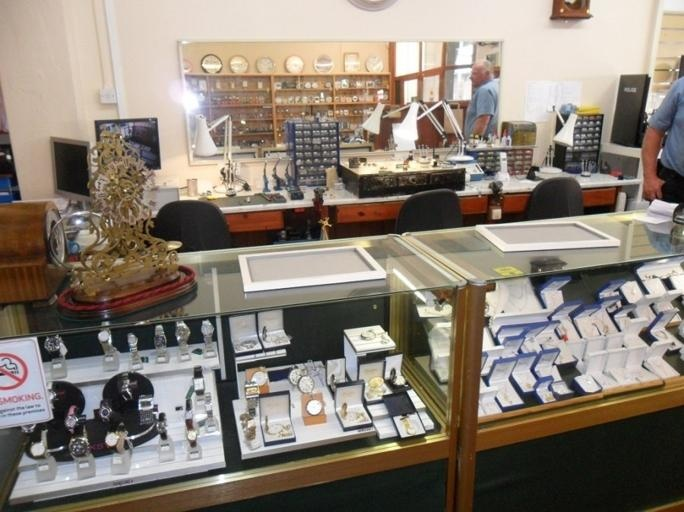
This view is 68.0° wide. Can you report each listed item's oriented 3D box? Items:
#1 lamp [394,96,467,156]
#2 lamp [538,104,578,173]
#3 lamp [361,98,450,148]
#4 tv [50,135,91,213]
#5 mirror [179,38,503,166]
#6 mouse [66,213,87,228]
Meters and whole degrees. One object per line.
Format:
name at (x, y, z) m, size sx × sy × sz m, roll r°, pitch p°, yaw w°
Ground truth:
lamp at (0.852, -1.189, 4.610) m, size 0.598 × 0.502 × 0.313 m, roll 4°, pitch 5°, yaw -31°
lamp at (2.006, -1.071, 4.696) m, size 0.282 × 0.566 × 0.604 m, roll 4°, pitch 23°, yaw 21°
lamp at (0.639, -1.109, 4.320) m, size 0.840 × 0.400 × 0.192 m, roll -3°, pitch 6°, yaw -3°
tv at (-1.934, -0.624, 3.638) m, size 0.192 × 0.425 × 0.568 m, roll -21°, pitch 27°, yaw -36°
mirror at (-0.293, -1.414, 4.443) m, size 2.145 × 0.872 × 0.027 m, roll -9°, pitch 18°, yaw -26°
mouse at (-0.877, -0.120, 1.676) m, size 0.052 × 0.037 × 0.047 m, roll 1°, pitch 13°, yaw -11°
